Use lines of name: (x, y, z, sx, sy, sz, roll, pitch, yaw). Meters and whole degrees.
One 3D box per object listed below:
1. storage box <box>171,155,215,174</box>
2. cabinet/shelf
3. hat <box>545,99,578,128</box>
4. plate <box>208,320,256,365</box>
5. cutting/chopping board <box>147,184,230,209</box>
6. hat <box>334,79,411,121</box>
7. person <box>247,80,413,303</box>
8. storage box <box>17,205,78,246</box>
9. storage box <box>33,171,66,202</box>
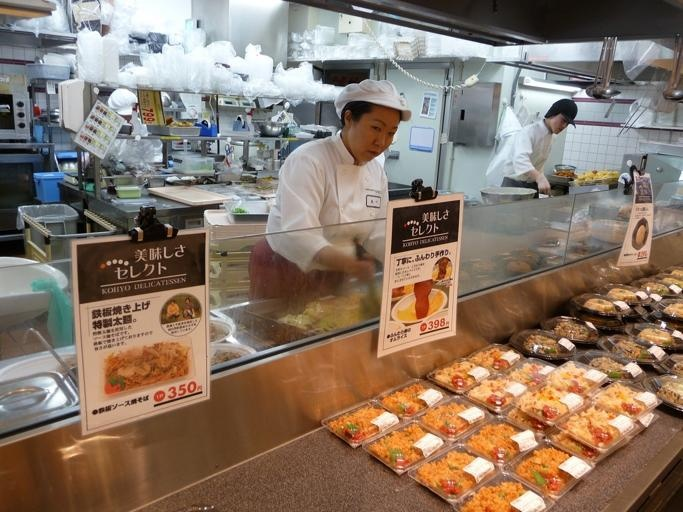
storage box: (-1.526, -0.949, 4.656, 0.252, 0.147, 0.336, -3, 13, -16)
cabinet/shelf: (-1.131, -0.861, 3.643, 0.995, 0.901, 1.948, 16, 24, 37)
hat: (2.076, -1.373, 4.255, 0.306, 0.187, 0.221, 44, 30, 24)
plate: (-0.256, 0.192, 1.035, 0.065, 0.113, 0.104, 10, 22, 23)
cutting/chopping board: (-1.330, -0.530, 3.886, 0.422, 0.073, 0.715, -7, 15, -36)
hat: (0.098, -0.605, 1.633, 0.221, 0.090, 0.177, 5, -3, 38)
person: (0.009, -0.283, 1.472, 0.541, 0.572, 0.899, -1, 20, -5)
storage box: (-2.223, -0.275, 3.368, 0.397, 0.346, 0.477, -3, 13, -24)
storage box: (-3.286, -0.769, 5.028, 0.349, 0.306, 0.227, -1, 21, -7)
